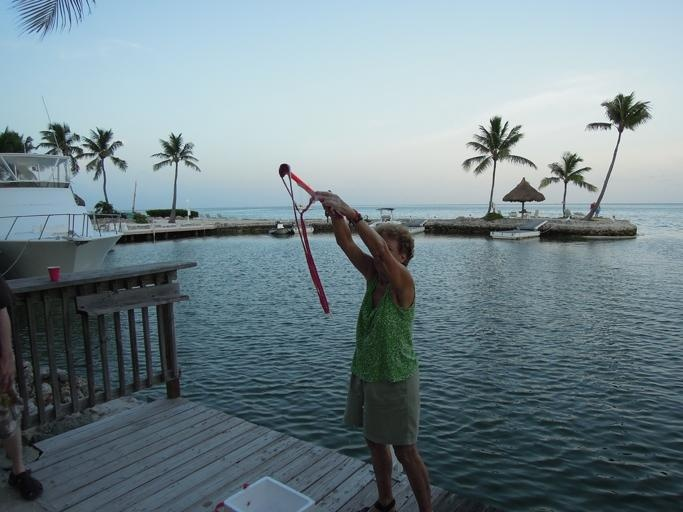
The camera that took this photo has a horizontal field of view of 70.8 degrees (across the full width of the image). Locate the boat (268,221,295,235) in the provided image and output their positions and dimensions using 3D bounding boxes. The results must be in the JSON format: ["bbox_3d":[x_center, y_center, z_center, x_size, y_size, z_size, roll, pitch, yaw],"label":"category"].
[{"bbox_3d":[-6.397,-2.861,52.536,2.164,1.115,1.973,0,5,-9],"label":"boat"}]

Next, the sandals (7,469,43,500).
[{"bbox_3d":[-3.281,2.392,5.043,0.439,0.166,0.189,18,16,26],"label":"sandals"}]

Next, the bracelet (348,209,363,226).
[{"bbox_3d":[0.123,-0.344,4.329,0.105,0.135,0.190,-5,12,-22],"label":"bracelet"}]
